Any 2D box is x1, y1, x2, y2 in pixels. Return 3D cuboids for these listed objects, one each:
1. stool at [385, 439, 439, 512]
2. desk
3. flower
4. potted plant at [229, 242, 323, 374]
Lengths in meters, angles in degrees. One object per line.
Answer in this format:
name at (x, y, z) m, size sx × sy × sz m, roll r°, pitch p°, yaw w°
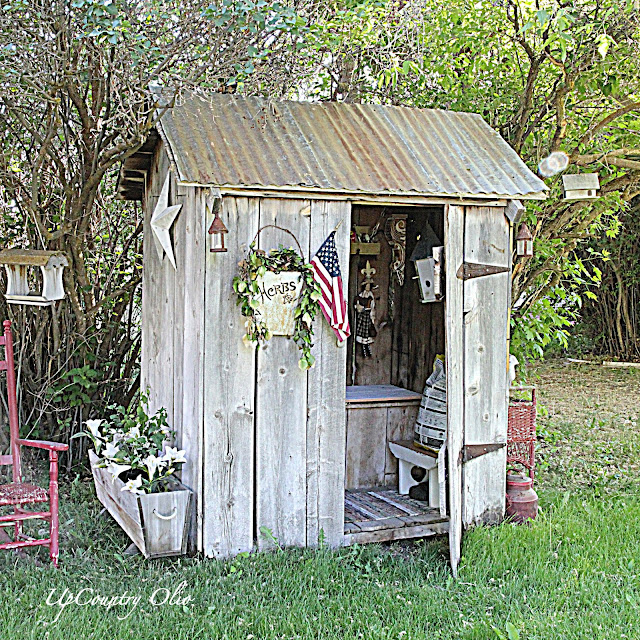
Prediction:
stool at (0.735, 1.055, 6.339) m, size 0.264 × 0.383 × 0.482 m, roll -9°, pitch 12°, yaw -39°
desk at (0.455, 0.804, 6.668) m, size 0.490 × 0.808 × 0.740 m, roll 0°, pitch 3°, yaw 2°
flower at (-1.156, 0.714, 5.541) m, size 0.451 × 0.315 × 0.639 m, roll 0°, pitch 5°, yaw 38°
potted plant at (-0.262, -0.155, 5.231) m, size 0.454 × 0.703 × 0.196 m, roll -5°, pitch 33°, yaw 9°
